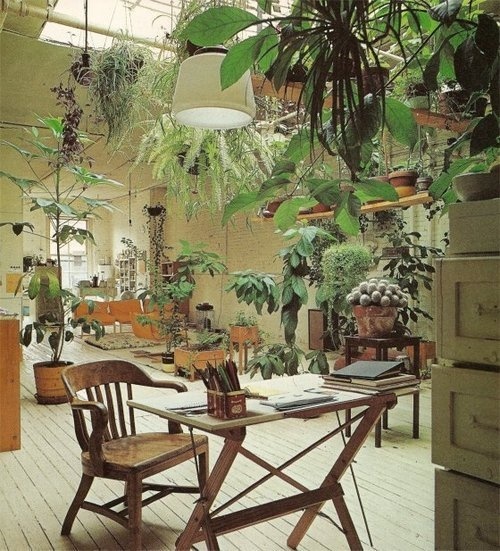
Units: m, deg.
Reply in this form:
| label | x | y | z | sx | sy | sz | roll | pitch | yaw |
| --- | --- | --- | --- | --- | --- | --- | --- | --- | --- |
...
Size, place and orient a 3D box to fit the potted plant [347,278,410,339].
| label | x | y | z | sx | sy | sz | roll | pitch | yaw |
| --- | --- | --- | --- | --- | --- | --- | --- | --- | --- |
| potted plant | 0.976 | 0.261 | 3.744 | 0.510 | 0.433 | 0.465 | 0 | -14 | 6 |
